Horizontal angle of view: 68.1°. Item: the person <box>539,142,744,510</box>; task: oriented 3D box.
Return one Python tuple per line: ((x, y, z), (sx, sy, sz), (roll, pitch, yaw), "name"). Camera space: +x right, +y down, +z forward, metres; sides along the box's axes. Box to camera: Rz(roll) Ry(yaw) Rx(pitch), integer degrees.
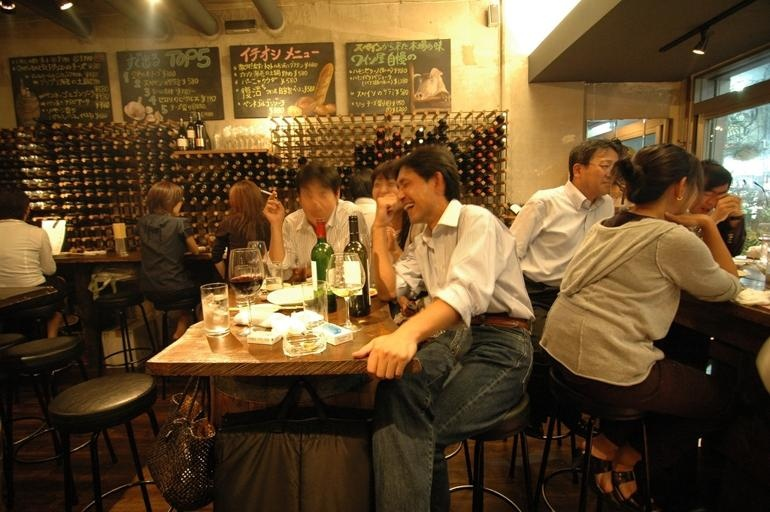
((1.874, 0.262, 4.163), (1.323, 2.123, 0.524), (-4, 10, -9), "person")
